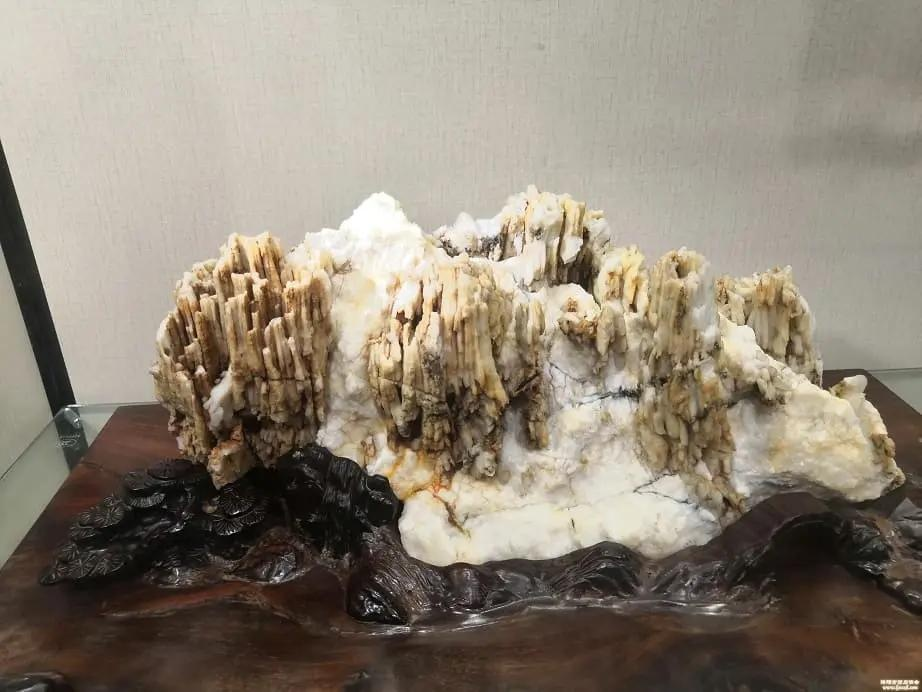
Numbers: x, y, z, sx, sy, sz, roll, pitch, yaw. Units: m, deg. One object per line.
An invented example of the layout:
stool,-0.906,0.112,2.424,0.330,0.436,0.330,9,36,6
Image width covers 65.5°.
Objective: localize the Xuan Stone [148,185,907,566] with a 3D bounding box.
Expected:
Xuan Stone,0.352,-0.023,5.148,4.815,1.689,2.701,2,32,6
